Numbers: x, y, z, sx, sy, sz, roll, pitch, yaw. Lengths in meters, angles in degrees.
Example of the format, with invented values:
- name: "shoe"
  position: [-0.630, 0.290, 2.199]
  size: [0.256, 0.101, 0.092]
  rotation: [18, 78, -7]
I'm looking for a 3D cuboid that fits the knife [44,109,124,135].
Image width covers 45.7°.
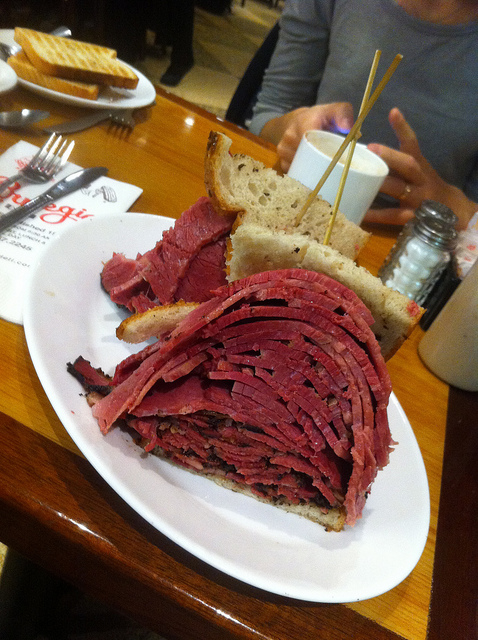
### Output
- name: "knife"
  position: [-0.451, -0.566, 1.630]
  size: [0.053, 0.015, 0.348]
  rotation: [32, 35, 13]

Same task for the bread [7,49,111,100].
- name: "bread"
  position: [-0.542, -0.703, 1.663]
  size: [0.191, 0.046, 0.175]
  rotation: [10, 30, -22]

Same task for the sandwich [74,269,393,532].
- name: "sandwich"
  position: [0.037, 0.129, 0.960]
  size: [0.526, 0.241, 0.388]
  rotation: [29, 44, 2]

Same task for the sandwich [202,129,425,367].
- name: "sandwich"
  position: [0.100, -0.181, 1.098]
  size: [0.477, 0.132, 0.475]
  rotation: [37, 23, 1]

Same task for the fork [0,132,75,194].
- name: "fork"
  position: [-0.480, -0.366, 1.351]
  size: [0.050, 0.040, 0.271]
  rotation: [33, 54, 10]

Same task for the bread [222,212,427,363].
- name: "bread"
  position: [0.082, -0.104, 1.050]
  size: [0.244, 0.128, 0.520]
  rotation: [15, 24, 38]
